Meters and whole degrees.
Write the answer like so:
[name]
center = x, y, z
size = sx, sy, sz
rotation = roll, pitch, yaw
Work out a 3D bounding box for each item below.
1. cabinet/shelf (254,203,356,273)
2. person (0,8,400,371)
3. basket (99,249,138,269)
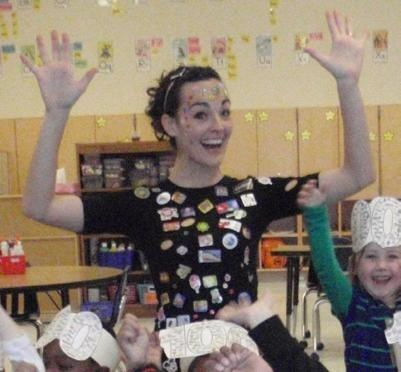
[cabinet/shelf]
center = 0.921, 0.329, 5.770
size = 1.119, 0.670, 0.682
rotation = -1, -4, 1
[person]
center = -0.002, -0.073, 2.467
size = 1.305, 1.187, 0.337
rotation = 0, 3, 0
[basket]
center = -0.693, 0.600, 5.300
size = 0.264, 0.171, 0.269
rotation = 1, -2, -42
